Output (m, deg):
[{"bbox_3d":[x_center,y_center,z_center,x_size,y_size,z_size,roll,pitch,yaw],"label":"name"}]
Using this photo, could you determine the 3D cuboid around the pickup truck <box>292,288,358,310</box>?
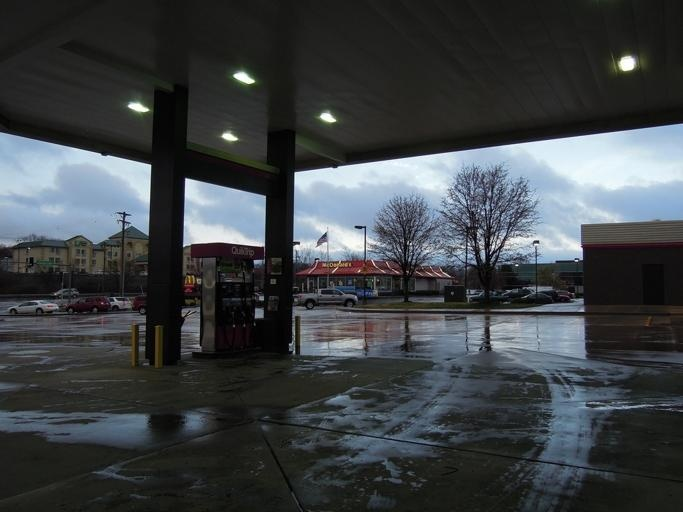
[{"bbox_3d":[-1.636,4.741,51.172,6.309,1.690,2.435,-1,-3,3],"label":"pickup truck"}]

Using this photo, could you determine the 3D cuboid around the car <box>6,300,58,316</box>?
[{"bbox_3d":[-29.162,4.928,43.657,3.343,1.214,3.523,-5,-6,39],"label":"car"}]

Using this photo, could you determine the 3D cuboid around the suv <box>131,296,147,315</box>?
[{"bbox_3d":[-18.590,4.437,42.429,0.916,1.583,3.654,0,-5,-25],"label":"suv"}]

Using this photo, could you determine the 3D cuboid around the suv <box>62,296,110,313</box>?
[{"bbox_3d":[-24.192,4.667,43.566,4.019,1.358,1.789,2,-4,-2],"label":"suv"}]

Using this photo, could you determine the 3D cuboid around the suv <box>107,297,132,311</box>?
[{"bbox_3d":[-21.971,4.805,45.493,1.461,0.892,2.199,1,-8,-14],"label":"suv"}]
